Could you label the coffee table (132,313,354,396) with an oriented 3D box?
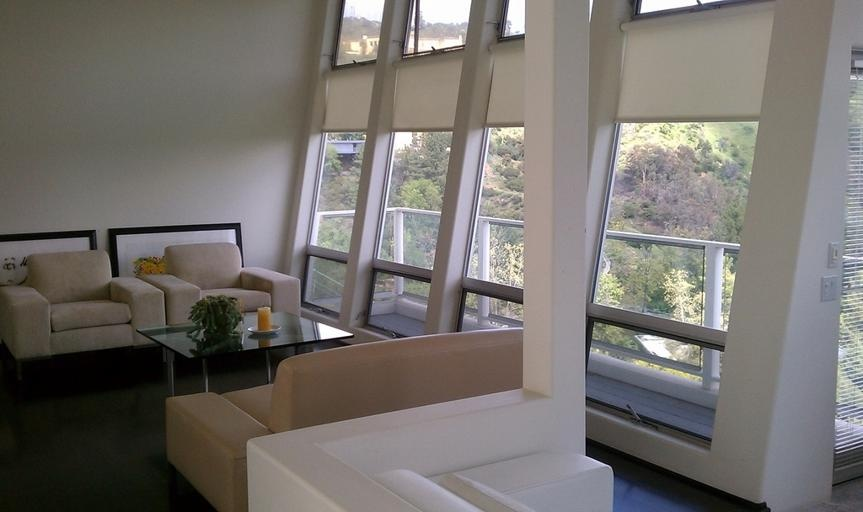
[{"bbox_3d":[-1.897,0.773,5.797,1.418,0.643,1.088,-7,16,-37],"label":"coffee table"}]
